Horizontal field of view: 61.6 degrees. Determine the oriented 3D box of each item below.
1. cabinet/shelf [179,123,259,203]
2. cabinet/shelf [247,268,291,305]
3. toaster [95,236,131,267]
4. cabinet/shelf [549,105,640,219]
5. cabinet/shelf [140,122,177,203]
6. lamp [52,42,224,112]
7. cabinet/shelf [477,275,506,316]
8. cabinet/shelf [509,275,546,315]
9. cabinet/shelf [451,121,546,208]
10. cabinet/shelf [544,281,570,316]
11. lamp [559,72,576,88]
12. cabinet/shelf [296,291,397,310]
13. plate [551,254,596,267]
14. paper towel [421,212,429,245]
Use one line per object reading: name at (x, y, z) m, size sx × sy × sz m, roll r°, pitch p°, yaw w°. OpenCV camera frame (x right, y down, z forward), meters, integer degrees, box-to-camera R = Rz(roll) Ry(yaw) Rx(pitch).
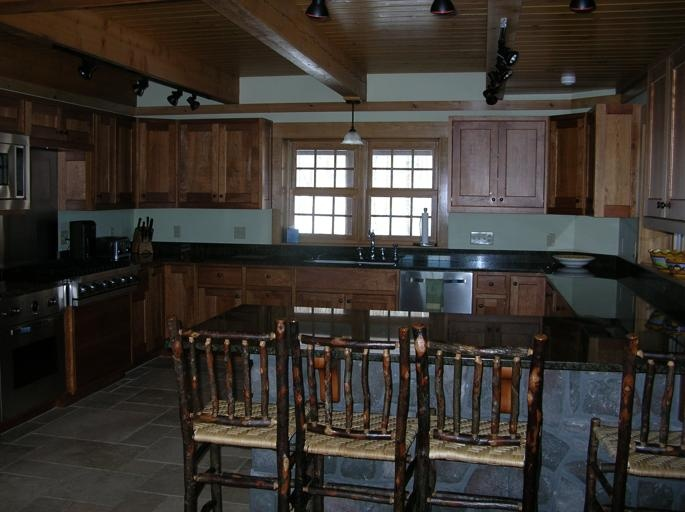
cabinet/shelf at (-1.295, -1.019, 6.209) m, size 0.837 × 0.812 × 0.325 m, roll 1°, pitch 4°, yaw 8°
cabinet/shelf at (-0.761, 0.290, 6.093) m, size 0.653 × 0.466 × 0.338 m, roll 0°, pitch 0°, yaw 6°
toaster at (-2.389, -0.069, 5.999) m, size 0.327 × 0.323 × 0.364 m, roll 10°, pitch 4°, yaw 0°
cabinet/shelf at (2.305, -0.845, 5.214) m, size 0.408 × 1.072 × 1.148 m, roll 1°, pitch 2°, yaw 6°
cabinet/shelf at (-2.029, -1.006, 6.317) m, size 0.396 × 0.913 × 0.139 m, roll 1°, pitch 11°, yaw 2°
lamp at (-1.852, -1.589, 5.255) m, size 0.721 × 0.368 × 2.640 m, roll 4°, pitch 10°, yaw 15°
cabinet/shelf at (1.434, 0.367, 5.572) m, size 0.324 × 0.388 × 0.160 m, roll 3°, pitch 11°, yaw 13°
cabinet/shelf at (1.803, 0.361, 5.725) m, size 0.405 × 0.484 × 0.343 m, roll 0°, pitch -1°, yaw 14°
cabinet/shelf at (1.620, -0.951, 5.836) m, size 0.851 × 0.798 × 0.334 m, roll 1°, pitch 2°, yaw 8°
cabinet/shelf at (1.743, 0.336, 4.664) m, size 0.164 × 0.295 × 0.308 m, roll -2°, pitch 4°, yaw -3°
lamp at (2.061, -1.596, 5.248) m, size 0.104 × 0.076 × 0.104 m, roll 1°, pitch -5°, yaw 2°
cabinet/shelf at (0.013, 0.441, 5.738) m, size 1.034 × 0.170 × 0.137 m, roll 3°, pitch 10°, yaw 10°
plate at (2.360, 0.043, 5.903) m, size 0.402 × 0.113 × 0.388 m, roll 5°, pitch 11°, yaw 23°
paper towel at (0.909, -0.316, 6.312) m, size 0.105 × 0.381 × 0.214 m, roll 2°, pitch 10°, yaw 8°
